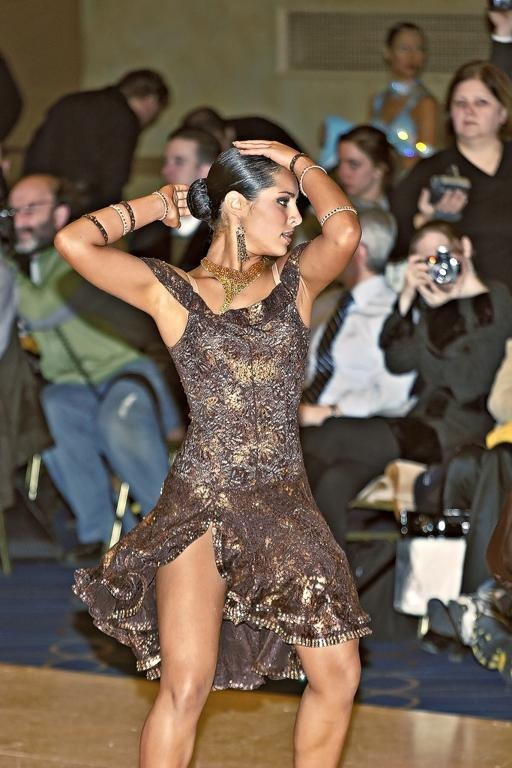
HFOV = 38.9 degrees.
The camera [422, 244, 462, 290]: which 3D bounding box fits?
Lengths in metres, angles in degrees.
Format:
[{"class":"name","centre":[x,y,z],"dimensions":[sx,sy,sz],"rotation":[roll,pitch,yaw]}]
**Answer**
[{"class":"camera","centre":[0.855,-0.529,3.348],"dimensions":[0.189,0.193,0.174],"rotation":[-6,-5,0]}]

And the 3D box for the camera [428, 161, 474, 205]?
[{"class":"camera","centre":[0.953,-0.979,3.556],"dimensions":[0.213,0.185,0.071],"rotation":[9,0,-26]}]
